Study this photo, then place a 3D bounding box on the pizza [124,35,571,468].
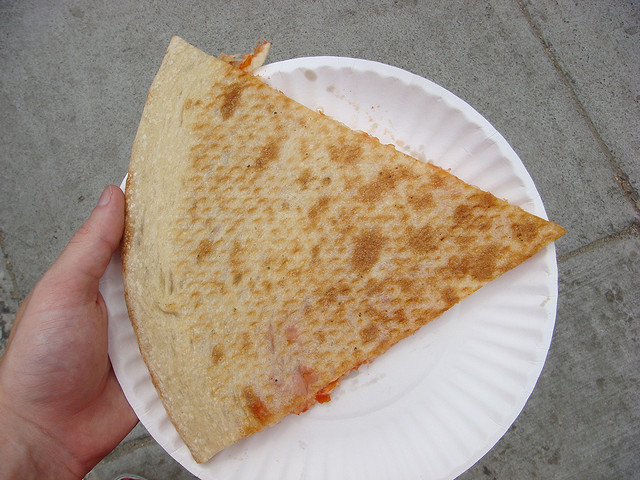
[{"bbox_3d":[-0.193,0.234,3.333,1.819,0.214,1.675,25,86,3],"label":"pizza"}]
